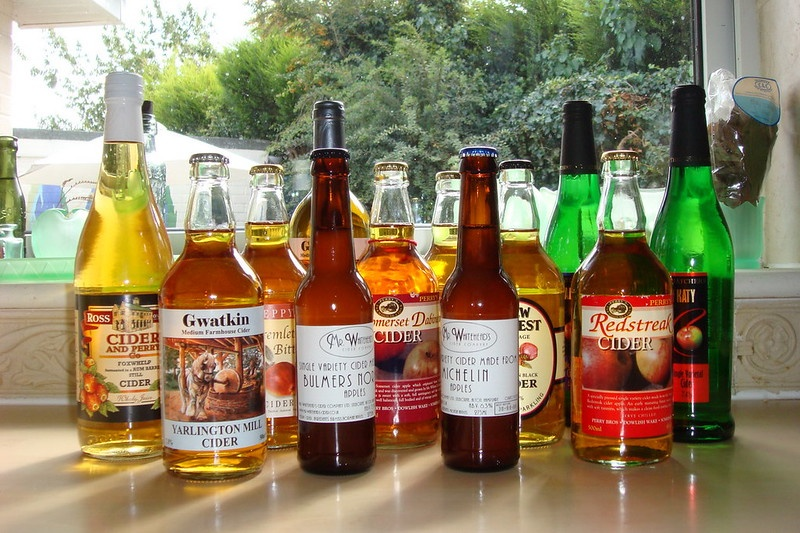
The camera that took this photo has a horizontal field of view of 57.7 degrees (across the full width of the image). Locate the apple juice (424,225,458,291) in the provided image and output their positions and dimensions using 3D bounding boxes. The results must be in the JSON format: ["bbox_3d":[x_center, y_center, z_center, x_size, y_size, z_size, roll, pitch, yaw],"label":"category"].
[{"bbox_3d":[0.076,-0.013,1.313,0.067,0.155,0.060,-4,19,3],"label":"apple juice"}]
